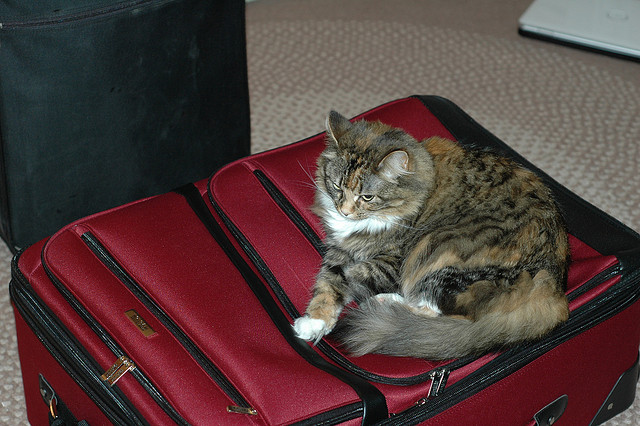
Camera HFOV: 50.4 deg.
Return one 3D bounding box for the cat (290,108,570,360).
[{"bbox_3d":[0.264,0.088,1.654,0.605,0.272,0.572,-4,55,2],"label":"cat"}]
